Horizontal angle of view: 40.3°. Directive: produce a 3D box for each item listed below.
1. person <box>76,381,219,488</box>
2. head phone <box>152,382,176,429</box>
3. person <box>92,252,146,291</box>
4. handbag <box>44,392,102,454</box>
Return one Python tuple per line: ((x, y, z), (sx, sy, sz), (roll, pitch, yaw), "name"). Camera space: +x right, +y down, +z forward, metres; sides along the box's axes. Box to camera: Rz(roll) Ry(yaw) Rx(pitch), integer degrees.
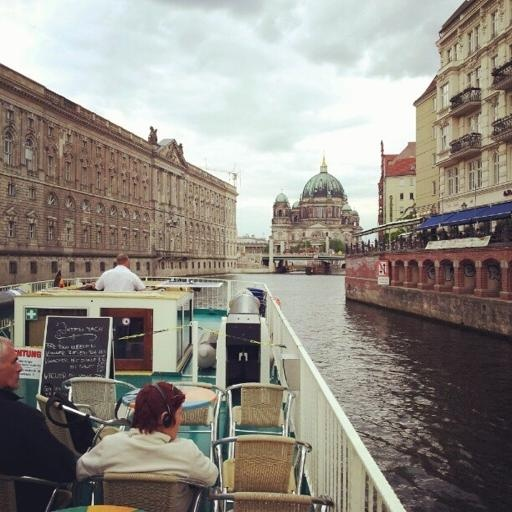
((-1.140, 2.027, 7.276), (1.454, 1.529, 0.872), (3, 6, -7), "person")
((-0.943, 1.519, 7.088), (0.142, 0.504, 0.393), (-16, 2, -12), "head phone")
((-2.623, 0.313, 13.421), (1.044, 0.781, 0.808), (2, 5, 35), "person")
((-2.054, 1.879, 7.828), (0.413, 0.750, 0.399), (-19, 26, -34), "handbag")
